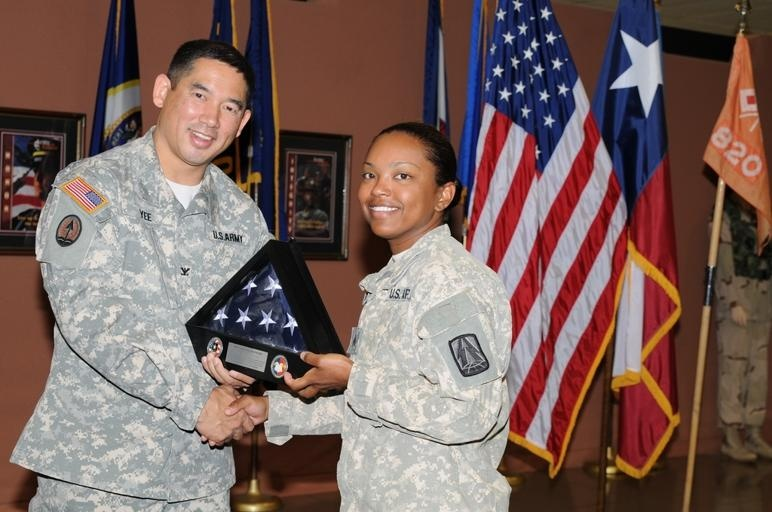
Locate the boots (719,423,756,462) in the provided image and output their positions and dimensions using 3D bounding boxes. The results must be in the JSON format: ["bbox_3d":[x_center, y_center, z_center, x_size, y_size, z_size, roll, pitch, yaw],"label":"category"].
[{"bbox_3d":[3.047,1.602,6.958,0.171,0.379,0.359,1,1,-44],"label":"boots"}]
